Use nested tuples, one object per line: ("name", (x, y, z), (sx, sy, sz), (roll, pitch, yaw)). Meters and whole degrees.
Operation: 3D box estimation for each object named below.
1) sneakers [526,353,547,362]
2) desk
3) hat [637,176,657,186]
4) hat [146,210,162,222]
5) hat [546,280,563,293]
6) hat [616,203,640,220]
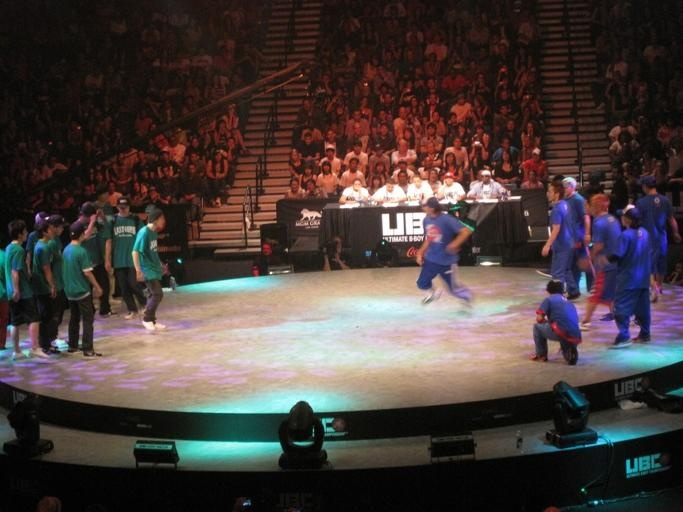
("sneakers", (2.549, 1.320, 8.668), (0.089, 0.085, 0.204), (-5, 10, -37))
("desk", (1.766, -0.562, 15.870), (4.627, 1.609, 1.653), (0, 2, 34))
("hat", (5.204, -1.265, 11.313), (0.230, 0.197, 0.280), (-2, 3, 23))
("hat", (-2.931, -0.632, 10.468), (0.211, 0.223, 0.284), (-4, 3, -16))
("hat", (2.772, 0.388, 8.653), (0.148, 0.189, 0.193), (-8, 9, 13))
("hat", (4.058, -0.594, 9.330), (0.219, 0.212, 0.361), (-1, 3, 25))
